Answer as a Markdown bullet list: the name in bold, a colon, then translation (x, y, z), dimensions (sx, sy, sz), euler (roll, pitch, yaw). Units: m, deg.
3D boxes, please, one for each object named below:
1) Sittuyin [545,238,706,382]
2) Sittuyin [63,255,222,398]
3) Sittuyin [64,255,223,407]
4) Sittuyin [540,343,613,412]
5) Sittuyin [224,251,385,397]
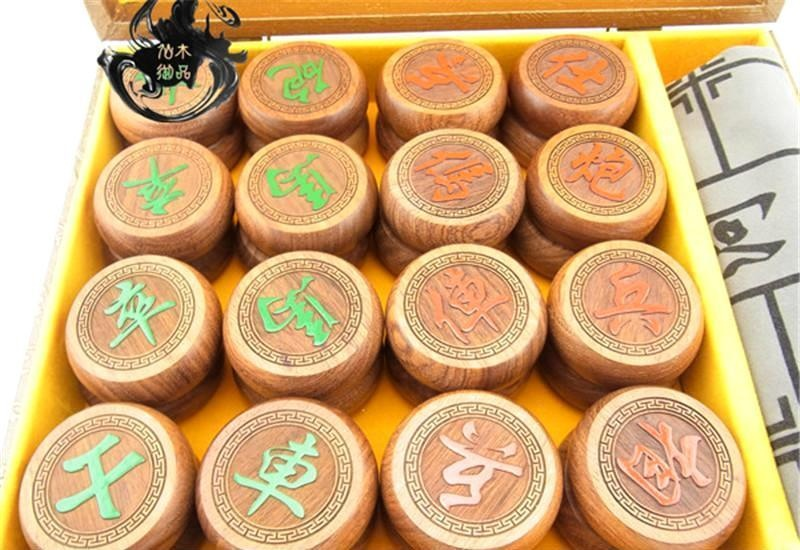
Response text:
- **Sittuyin**: translation (0.509, 0.077, 1.745), dimensions (0.293, 0.111, 0.304), euler (-4, 72, 2)
- **Sittuyin**: translation (-0.580, 0.115, 1.784), dimensions (0.302, 0.170, 0.310), euler (-10, 70, -10)
- **Sittuyin**: translation (-0.576, 0.131, 1.796), dimensions (0.318, 0.198, 0.325), euler (-15, 72, -11)
- **Sittuyin**: translation (0.395, 0.249, 1.864), dimensions (0.150, 0.149, 0.156), euler (4, 69, -2)
- **Sittuyin**: translation (-0.218, 0.115, 1.799), dimensions (0.346, 0.185, 0.293), euler (10, 46, 3)
